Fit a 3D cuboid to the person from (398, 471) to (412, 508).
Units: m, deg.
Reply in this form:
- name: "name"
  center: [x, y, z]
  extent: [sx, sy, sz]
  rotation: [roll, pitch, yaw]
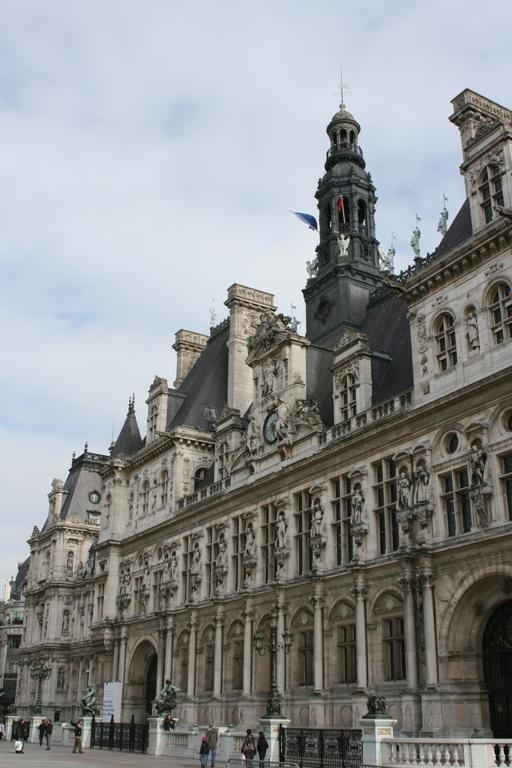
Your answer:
- name: "person"
  center: [5.892, 4.265, 32.903]
  extent: [0.334, 1.636, 0.996]
  rotation: [8, -24, -16]

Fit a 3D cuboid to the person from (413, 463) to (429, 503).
- name: "person"
  center: [6.391, 3.956, 32.103]
  extent: [0.306, 1.509, 0.935]
  rotation: [9, -24, -17]

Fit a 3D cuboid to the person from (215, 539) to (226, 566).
- name: "person"
  center: [-2.008, 9.706, 47.452]
  extent: [0.393, 1.784, 1.117]
  rotation: [8, -24, -15]

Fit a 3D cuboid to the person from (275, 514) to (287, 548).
- name: "person"
  center: [1.246, 7.357, 41.660]
  extent: [0.328, 1.952, 0.990]
  rotation: [10, -24, -19]

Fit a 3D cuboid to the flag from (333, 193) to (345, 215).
- name: "flag"
  center: [5.568, -11.872, 54.795]
  extent: [0.551, 1.252, 0.718]
  rotation: [-1, -23, 6]

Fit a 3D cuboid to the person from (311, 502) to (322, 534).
- name: "person"
  center: [2.862, 6.296, 38.795]
  extent: [0.351, 1.677, 0.892]
  rotation: [7, -24, -14]

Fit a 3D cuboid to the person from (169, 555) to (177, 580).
- name: "person"
  center: [-5.331, 11.739, 53.315]
  extent: [0.355, 1.949, 1.143]
  rotation: [7, -24, -14]
